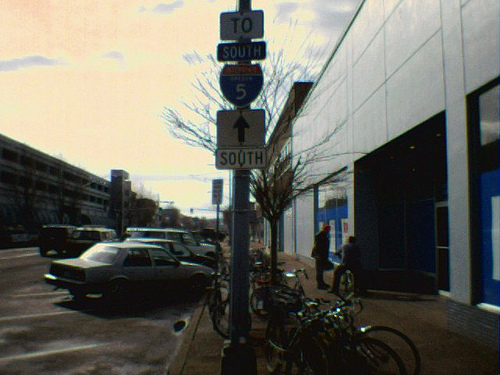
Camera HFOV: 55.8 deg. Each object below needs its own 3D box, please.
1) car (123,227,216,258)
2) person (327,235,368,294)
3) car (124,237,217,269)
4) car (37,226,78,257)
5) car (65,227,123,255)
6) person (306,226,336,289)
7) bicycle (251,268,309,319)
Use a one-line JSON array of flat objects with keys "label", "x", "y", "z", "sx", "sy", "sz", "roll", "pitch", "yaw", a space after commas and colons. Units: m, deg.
[{"label": "car", "x": -3.583, "y": 2.231, "z": 21.200, "sx": 3.079, "sy": 1.870, "sz": 1.990, "roll": 1, "pitch": -5, "yaw": -12}, {"label": "person", "x": 3.076, "y": 2.476, "z": 14.673, "sx": 1.015, "sy": 1.413, "sz": 1.262, "roll": -1, "pitch": -1, "yaw": 14}, {"label": "car", "x": -2.913, "y": 2.337, "z": 17.690, "sx": 3.339, "sy": 1.729, "sz": 1.776, "roll": 3, "pitch": -5, "yaw": -18}, {"label": "car", "x": -10.522, "y": 2.956, "z": 25.598, "sx": 1.236, "sy": 1.470, "sz": 2.299, "roll": 0, "pitch": -1, "yaw": -3}, {"label": "car", "x": -7.182, "y": 2.403, "z": 21.056, "sx": 1.147, "sy": 1.314, "sz": 2.404, "roll": -1, "pitch": -4, "yaw": 11}, {"label": "person", "x": 2.423, "y": 2.264, "z": 15.816, "sx": 0.728, "sy": 2.128, "sz": 0.715, "roll": -11, "pitch": 17, "yaw": -25}, {"label": "bicycle", "x": 0.706, "y": 2.224, "z": 9.612, "sx": 1.274, "sy": 1.001, "sz": 0.975, "roll": 1, "pitch": -8, "yaw": -12}]
